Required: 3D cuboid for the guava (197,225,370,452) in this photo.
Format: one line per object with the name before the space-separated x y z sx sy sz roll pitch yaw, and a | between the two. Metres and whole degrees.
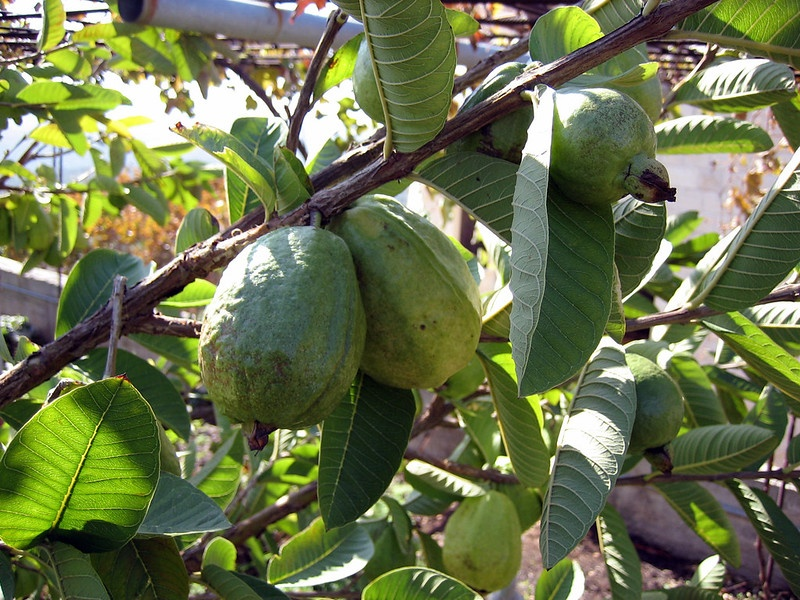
guava | -0.217 0.055 2.098 0.372 0.503 0.393 18 -29 14
